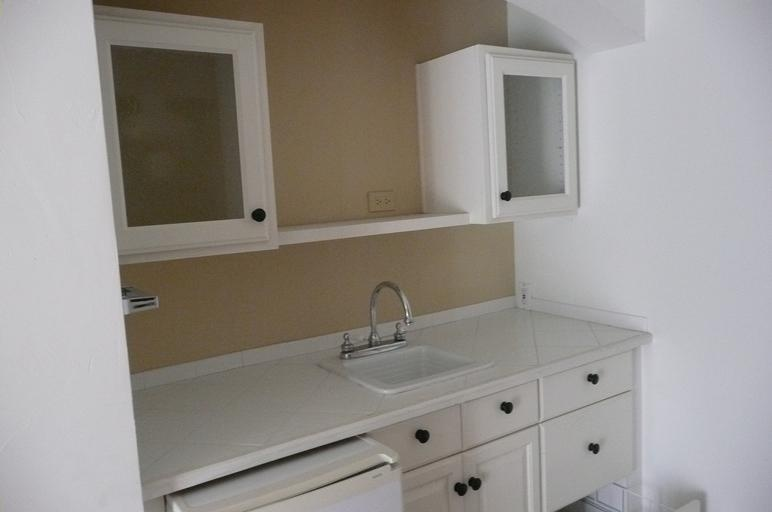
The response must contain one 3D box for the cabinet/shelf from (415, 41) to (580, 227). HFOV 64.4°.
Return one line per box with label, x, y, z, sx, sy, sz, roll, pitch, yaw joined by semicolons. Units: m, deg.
cabinet/shelf;0.590;-0.587;3.093;0.678;0.763;0.509;-8;11;-33
